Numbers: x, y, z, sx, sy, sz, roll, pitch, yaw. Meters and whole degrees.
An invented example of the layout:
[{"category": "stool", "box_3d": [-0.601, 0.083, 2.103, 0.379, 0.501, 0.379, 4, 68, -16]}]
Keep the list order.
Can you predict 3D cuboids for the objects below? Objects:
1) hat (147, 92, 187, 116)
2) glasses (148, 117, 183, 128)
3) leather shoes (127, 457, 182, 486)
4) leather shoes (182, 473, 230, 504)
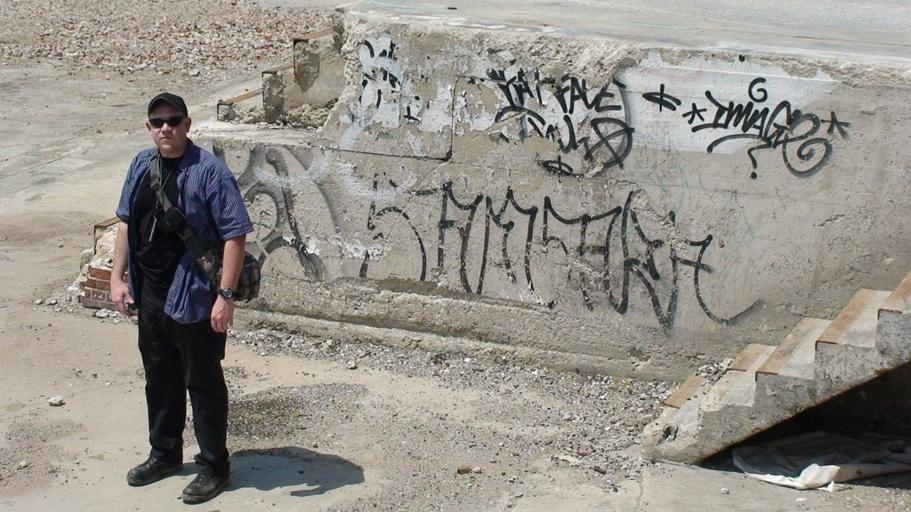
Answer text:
[{"category": "hat", "box_3d": [-2.777, -1.498, 11.237, 0.320, 0.376, 0.187, -6, 62, -2]}, {"category": "glasses", "box_3d": [-2.780, -1.312, 11.068, 0.318, 0.110, 0.089, -3, 25, -14]}, {"category": "leather shoes", "box_3d": [-2.974, 2.107, 11.455, 0.643, 0.229, 0.213, -10, 30, -31]}, {"category": "leather shoes", "box_3d": [-2.431, 2.266, 11.287, 0.208, 0.177, 0.478, 25, 29, 33]}]
